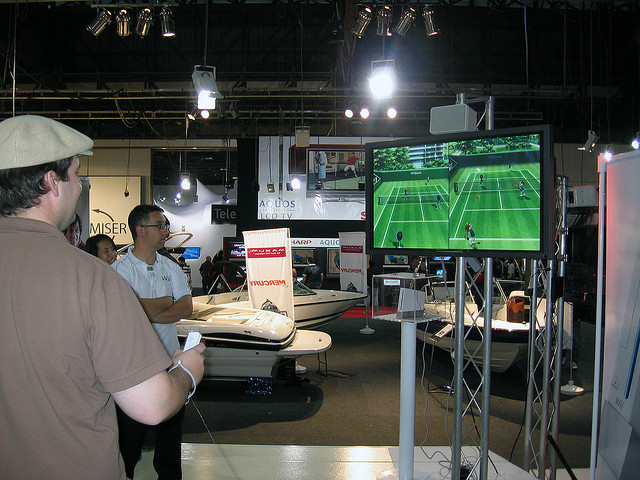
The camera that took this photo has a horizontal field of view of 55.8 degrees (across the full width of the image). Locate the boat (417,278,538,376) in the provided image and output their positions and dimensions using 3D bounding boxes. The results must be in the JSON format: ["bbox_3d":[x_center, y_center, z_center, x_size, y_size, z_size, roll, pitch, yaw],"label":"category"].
[{"bbox_3d":[2.047,1.107,8.218,0.881,1.224,3.377,0,-1,0],"label":"boat"}]

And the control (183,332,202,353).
[{"bbox_3d":[-0.726,0.568,3.429,0.089,0.094,0.145,0,4,-8],"label":"control"}]

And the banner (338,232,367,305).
[{"bbox_3d":[0.591,0.524,11.337,0.630,1.537,0.064,2,-28,0],"label":"banner"}]

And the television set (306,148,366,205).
[{"bbox_3d":[0.369,-1.557,14.096,1.497,1.327,0.212,0,6,-6],"label":"television set"}]

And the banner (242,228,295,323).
[{"bbox_3d":[-0.700,0.471,8.242,0.622,1.646,0.061,-1,37,0],"label":"banner"}]

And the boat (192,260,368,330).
[{"bbox_3d":[-0.544,0.869,9.611,2.726,1.400,0.941,5,-1,-15],"label":"boat"}]

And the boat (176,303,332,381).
[{"bbox_3d":[-0.739,1.144,7.005,1.720,0.761,0.908,1,4,-3],"label":"boat"}]

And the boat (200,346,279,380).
[{"bbox_3d":[-0.882,1.394,6.829,0.874,0.397,0.217,1,4,6],"label":"boat"}]
